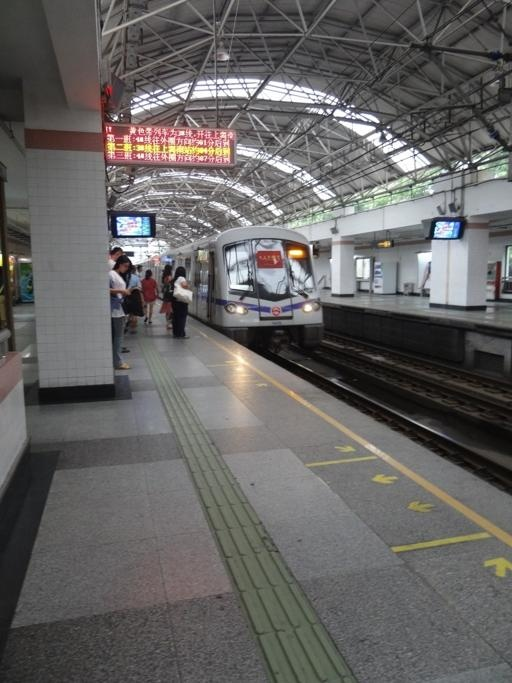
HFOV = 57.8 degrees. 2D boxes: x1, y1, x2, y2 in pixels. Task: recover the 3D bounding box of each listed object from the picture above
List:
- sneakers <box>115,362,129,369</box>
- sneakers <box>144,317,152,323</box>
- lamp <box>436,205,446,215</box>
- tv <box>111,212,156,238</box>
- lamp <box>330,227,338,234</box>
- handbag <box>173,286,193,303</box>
[{"bbox_3d":[-2.430,0.439,8.446,0.200,0.071,0.097,-2,6,-16],"label":"sneakers"},{"bbox_3d":[-3.761,-0.726,16.204,0.142,0.257,0.405,1,-10,-35],"label":"sneakers"},{"bbox_3d":[8.754,-6.195,21.967,0.400,0.509,0.448,3,6,24],"label":"lamp"},{"bbox_3d":[-4.274,-4.011,16.142,1.811,1.038,0.948,-1,3,-21],"label":"tv"},{"bbox_3d":[5.425,-7.684,32.101,0.480,0.419,0.112,-17,-8,38],"label":"lamp"},{"bbox_3d":[-1.822,-1.172,11.499,0.435,0.357,0.190,15,-11,-22],"label":"handbag"}]
